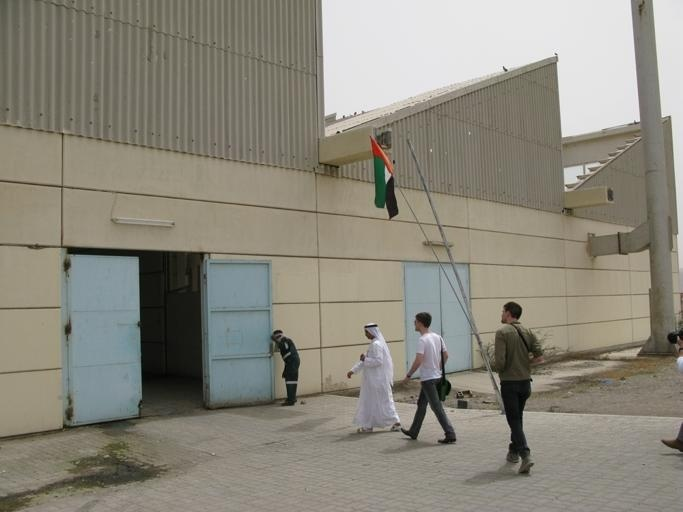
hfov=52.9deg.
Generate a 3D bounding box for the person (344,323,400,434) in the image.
[{"bbox_3d":[0.648,2.305,12.976,0.872,2.003,0.567,-1,2,3],"label":"person"}]

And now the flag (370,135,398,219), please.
[{"bbox_3d":[1.022,-1.887,15.923,0.603,2.098,0.177,9,40,15],"label":"flag"}]

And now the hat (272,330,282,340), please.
[{"bbox_3d":[-1.451,1.811,15.497,0.181,0.241,0.160,4,-5,25],"label":"hat"}]

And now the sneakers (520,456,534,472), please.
[{"bbox_3d":[2.773,3.104,10.266,0.202,0.259,0.290,-1,2,17],"label":"sneakers"}]

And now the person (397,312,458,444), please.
[{"bbox_3d":[1.552,2.135,12.086,0.892,2.263,1.199,-1,2,5],"label":"person"}]

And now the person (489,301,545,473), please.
[{"bbox_3d":[2.695,1.986,10.581,0.708,2.478,0.777,1,3,40],"label":"person"}]

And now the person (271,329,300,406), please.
[{"bbox_3d":[-1.267,2.505,15.480,0.581,1.658,0.851,-2,2,-7],"label":"person"}]

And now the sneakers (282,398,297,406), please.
[{"bbox_3d":[-1.168,3.249,15.212,0.297,0.128,0.220,-2,2,-2],"label":"sneakers"}]
